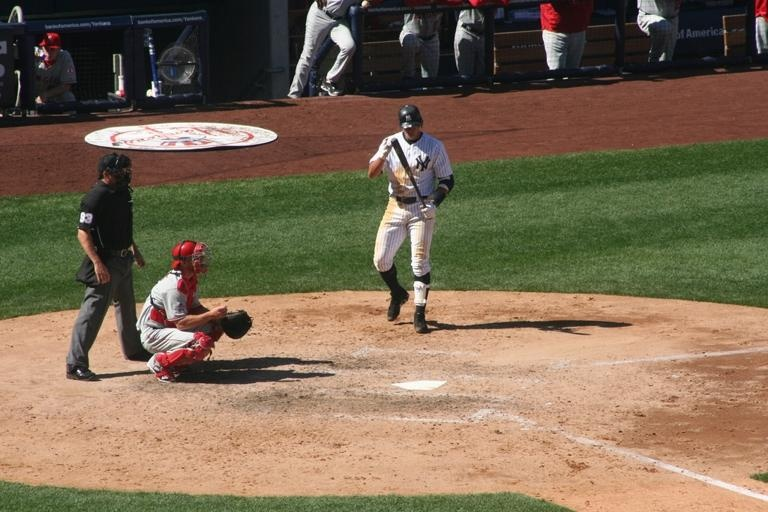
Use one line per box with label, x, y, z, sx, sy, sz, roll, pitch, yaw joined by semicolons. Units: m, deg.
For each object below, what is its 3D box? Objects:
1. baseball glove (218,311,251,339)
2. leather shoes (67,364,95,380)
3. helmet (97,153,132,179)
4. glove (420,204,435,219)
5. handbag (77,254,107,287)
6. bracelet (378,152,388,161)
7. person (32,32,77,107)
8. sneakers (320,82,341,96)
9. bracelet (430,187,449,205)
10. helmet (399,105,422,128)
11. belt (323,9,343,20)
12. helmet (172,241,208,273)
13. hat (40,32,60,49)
baseball glove;-1.709;0.821;16.716;0.340;0.265;0.376;34;3;10
leather shoes;-3.518;1.362;16.224;0.364;0.116;0.136;1;7;11
helmet;-3.124;-1.057;16.259;0.427;0.193;0.248;-4;19;-5
glove;0.544;-0.550;17.337;0.234;0.153;0.175;0;12;-12
handbag;-3.436;0.180;16.204;0.162;0.361;0.383;-11;14;-38
bracelet;0.000;-1.226;17.314;0.102;0.086;0.095;32;-30;-17
person;-5.543;-3.142;23.542;0.661;1.195;0.612;-4;12;-10
sneakers;-1.006;-3.032;25.671;0.518;0.202;0.177;18;50;32
bracelet;0.693;-0.728;17.448;0.282;0.111;0.163;-36;57;-19
helmet;0.294;-1.714;17.309;0.300;0.258;0.241;2;-6;10
belt;-0.904;-4.224;24.642;0.227;0.064;0.204;13;-7;31
helmet;-2.327;-0.017;16.261;0.513;0.310;0.324;-7;23;-3
hat;-5.556;-3.591;23.343;0.318;0.247;0.445;-4;10;-14
